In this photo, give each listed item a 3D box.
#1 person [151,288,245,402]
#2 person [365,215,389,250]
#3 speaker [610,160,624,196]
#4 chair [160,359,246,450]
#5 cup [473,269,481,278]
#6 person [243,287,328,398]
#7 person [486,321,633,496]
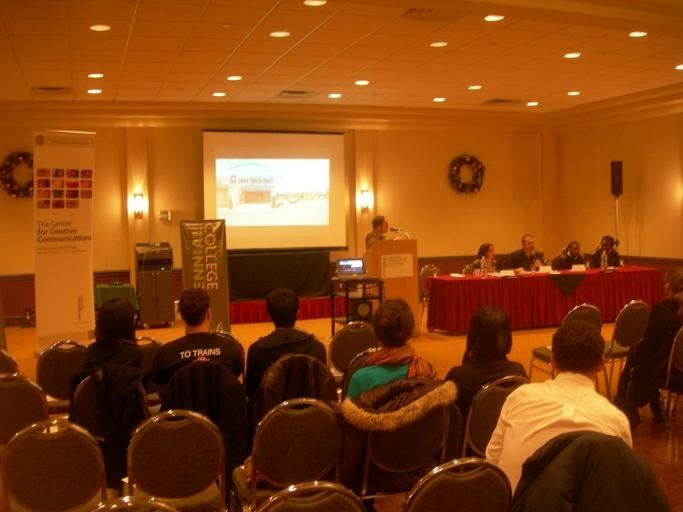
[{"bbox_3d":[-0.952,0.680,3.810,0.639,0.960,0.490,-2,10,-11],"label":"person"},{"bbox_3d":[0.555,-0.229,8.607,0.335,0.755,0.340,3,-11,-21],"label":"person"},{"bbox_3d":[5.414,-1.532,11.034,0.171,0.745,0.509,1,5,32],"label":"speaker"},{"bbox_3d":[-0.807,0.840,3.552,0.501,0.651,0.507,-2,11,-14],"label":"chair"},{"bbox_3d":[2.065,0.259,8.590,0.084,0.128,0.117,-2,3,-24],"label":"cup"},{"bbox_3d":[-0.404,0.722,3.976,0.575,1.026,0.548,-4,16,-14],"label":"person"},{"bbox_3d":[1.056,0.726,2.659,0.610,0.745,0.509,-4,5,-23],"label":"person"}]
